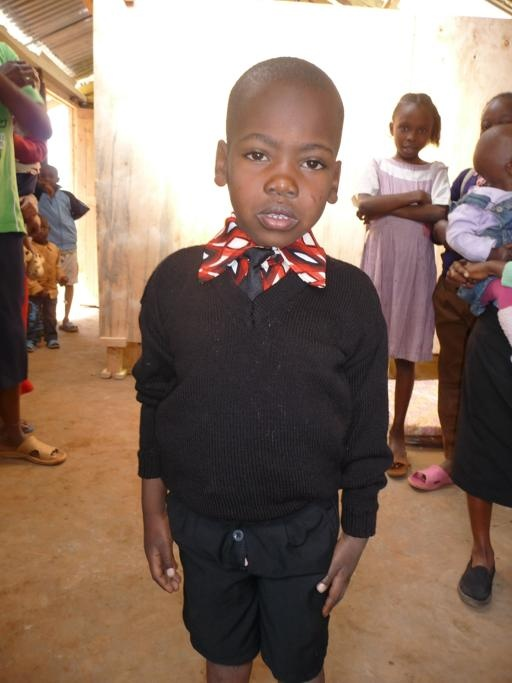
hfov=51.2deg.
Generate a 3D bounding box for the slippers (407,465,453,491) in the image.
[{"bbox_3d":[0.800,0.616,2.401,0.227,0.096,0.114,2,20,-30],"label":"slippers"}]

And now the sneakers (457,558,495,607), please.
[{"bbox_3d":[0.701,0.751,1.667,0.096,0.093,0.123,7,11,25],"label":"sneakers"}]

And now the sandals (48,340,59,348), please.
[{"bbox_3d":[-1.933,0.031,5.052,0.056,0.051,0.114,-2,-2,-12],"label":"sandals"}]

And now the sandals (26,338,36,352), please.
[{"bbox_3d":[-1.954,0.030,4.595,0.076,0.059,0.204,2,11,-12],"label":"sandals"}]

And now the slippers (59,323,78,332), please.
[{"bbox_3d":[-2.115,-0.159,6.028,0.094,0.109,0.255,0,3,-36],"label":"slippers"}]
